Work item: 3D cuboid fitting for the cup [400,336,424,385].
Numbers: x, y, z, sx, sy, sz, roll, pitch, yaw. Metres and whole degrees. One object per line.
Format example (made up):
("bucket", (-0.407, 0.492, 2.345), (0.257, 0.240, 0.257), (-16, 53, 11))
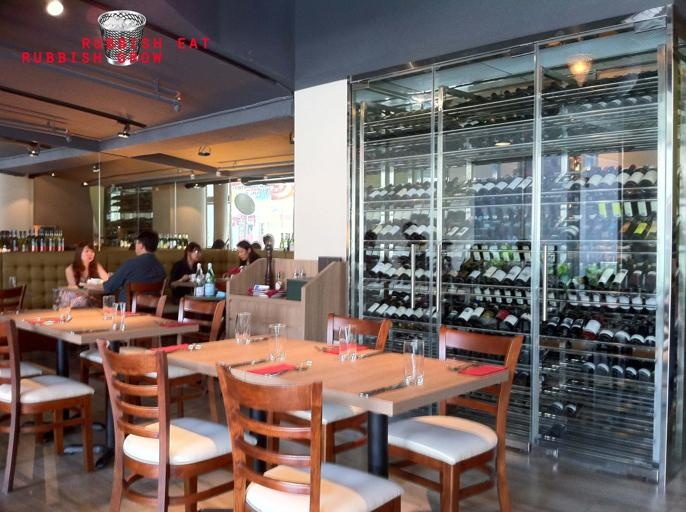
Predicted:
("cup", (0.359, 0.530, 2.680), (0.104, 0.213, 0.176), (1, 3, 8))

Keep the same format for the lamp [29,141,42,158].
("lamp", (-4.967, -1.713, 8.447), (0.218, 0.243, 0.217), (-1, 4, -34))

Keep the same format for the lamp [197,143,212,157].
("lamp", (-2.383, -1.836, 8.991), (0.117, 0.285, 0.296), (-1, 2, -26))

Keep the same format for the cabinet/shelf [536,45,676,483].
("cabinet/shelf", (1.925, 0.025, 3.902), (0.956, 3.019, 0.291), (3, 5, 39))

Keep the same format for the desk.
("desk", (-0.580, 0.443, 5.316), (1.417, 1.114, 0.779), (0, -2, 43))

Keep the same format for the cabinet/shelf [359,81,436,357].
("cabinet/shelf", (0.479, -0.205, 5.284), (0.868, 2.489, 0.771), (0, 3, -17))
